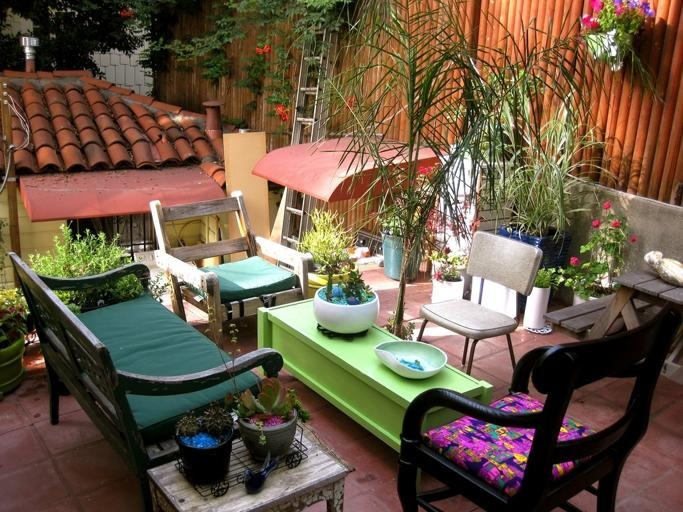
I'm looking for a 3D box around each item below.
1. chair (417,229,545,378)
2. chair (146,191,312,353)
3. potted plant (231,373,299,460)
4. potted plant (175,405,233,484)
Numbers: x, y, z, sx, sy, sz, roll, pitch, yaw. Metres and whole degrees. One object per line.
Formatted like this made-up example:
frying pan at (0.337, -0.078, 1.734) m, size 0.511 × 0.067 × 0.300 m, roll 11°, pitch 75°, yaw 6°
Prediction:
chair at (1.172, 0.403, 4.104) m, size 0.816 × 1.280 × 0.712 m, roll -14°, pitch 28°, yaw -37°
chair at (-0.954, 0.164, 4.746) m, size 1.302 × 1.250 × 1.460 m, roll -16°, pitch 31°, yaw -39°
potted plant at (-0.298, 0.720, 2.399) m, size 0.322 × 0.404 × 0.331 m, roll 0°, pitch 5°, yaw -2°
potted plant at (-0.613, 0.823, 2.291) m, size 0.242 × 0.216 × 0.280 m, roll 2°, pitch 20°, yaw -6°
